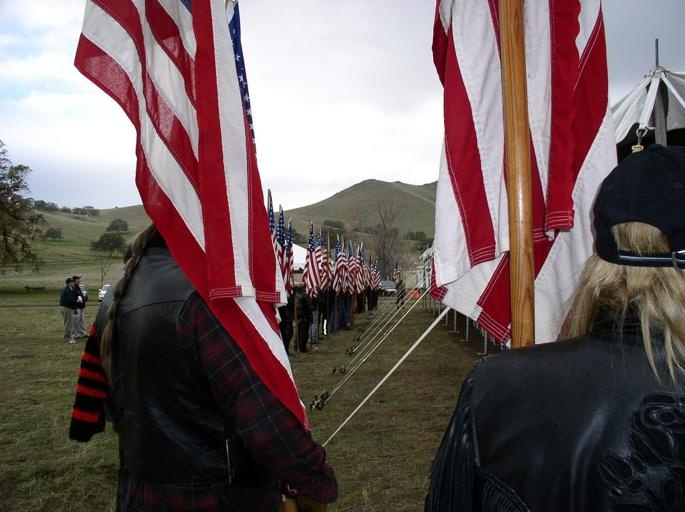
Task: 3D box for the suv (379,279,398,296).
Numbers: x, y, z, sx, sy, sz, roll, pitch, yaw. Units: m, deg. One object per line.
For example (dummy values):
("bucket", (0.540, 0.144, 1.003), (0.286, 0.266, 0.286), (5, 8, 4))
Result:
("suv", (4.096, 2.986, 56.612), (1.094, 1.147, 1.992), (1, 9, -11))
